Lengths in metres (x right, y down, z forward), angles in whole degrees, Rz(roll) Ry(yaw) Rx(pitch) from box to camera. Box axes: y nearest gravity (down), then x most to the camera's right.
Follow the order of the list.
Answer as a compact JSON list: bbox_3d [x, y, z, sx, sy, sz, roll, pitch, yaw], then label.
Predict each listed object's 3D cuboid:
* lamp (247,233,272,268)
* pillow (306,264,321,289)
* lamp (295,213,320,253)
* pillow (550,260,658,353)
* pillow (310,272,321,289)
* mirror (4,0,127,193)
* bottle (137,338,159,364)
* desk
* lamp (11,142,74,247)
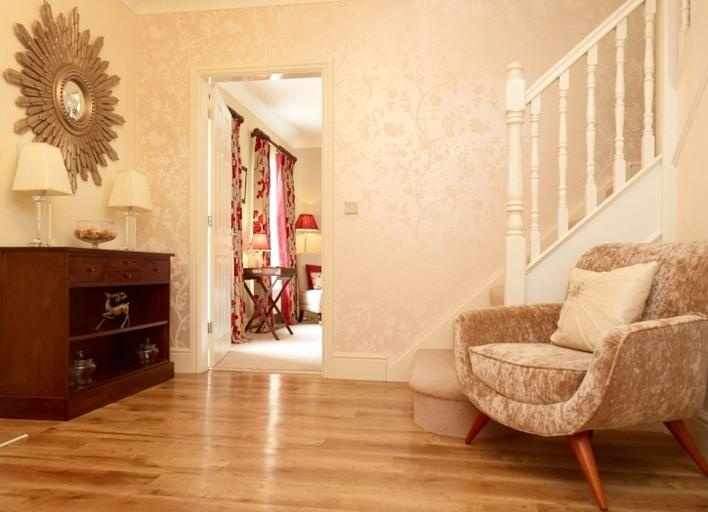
[{"bbox_3d":[-1.167,-0.047,6.952,0.285,0.494,0.281,-1,-2,24],"label":"lamp"},{"bbox_3d":[-0.591,0.307,8.089,0.300,0.379,0.131,-3,-8,10],"label":"pillow"},{"bbox_3d":[-0.757,-0.383,9.060,0.381,0.617,0.390,-1,9,-5],"label":"lamp"},{"bbox_3d":[1.399,0.301,3.287,0.302,0.536,0.612,5,-4,-19],"label":"pillow"},{"bbox_3d":[-0.547,0.338,7.952,0.202,0.203,0.062,-3,-5,8],"label":"pillow"},{"bbox_3d":[-2.180,-1.187,4.223,0.113,1.356,0.964,3,10,18],"label":"mirror"},{"bbox_3d":[-1.646,0.764,4.520,0.174,0.229,0.180,0,2,0],"label":"bottle"},{"bbox_3d":[-1.098,0.562,6.988,0.617,0.841,0.664,2,1,8],"label":"desk"},{"bbox_3d":[-2.186,-0.435,3.855,0.355,0.697,0.300,5,10,26],"label":"lamp"}]
